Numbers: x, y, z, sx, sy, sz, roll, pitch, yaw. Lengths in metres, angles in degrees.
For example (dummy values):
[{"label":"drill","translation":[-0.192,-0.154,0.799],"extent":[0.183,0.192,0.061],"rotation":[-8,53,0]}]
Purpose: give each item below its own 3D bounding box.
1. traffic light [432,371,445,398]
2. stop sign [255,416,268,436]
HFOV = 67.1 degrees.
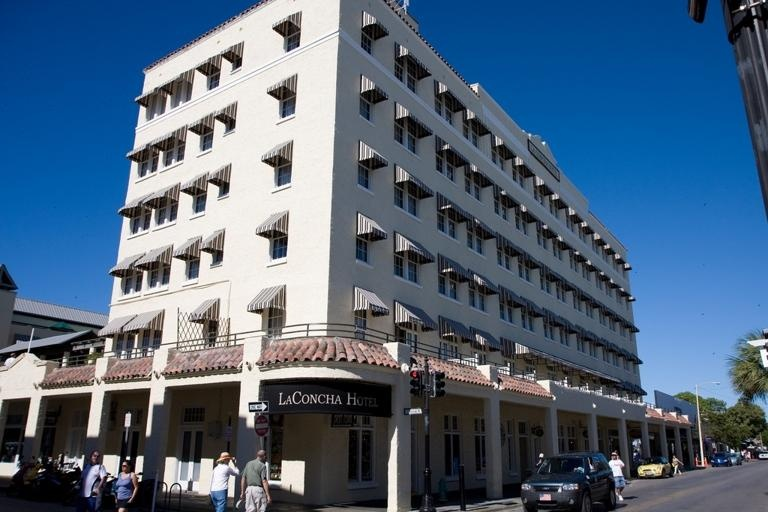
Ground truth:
[{"label":"traffic light","translation":[2.541,5.835,26.870],"extent":[0.437,1.187,1.031],"rotation":[-8,-26,15]},{"label":"stop sign","translation":[-5.039,6.849,23.790],"extent":[0.488,0.867,0.560],"rotation":[8,-27,-18]}]
